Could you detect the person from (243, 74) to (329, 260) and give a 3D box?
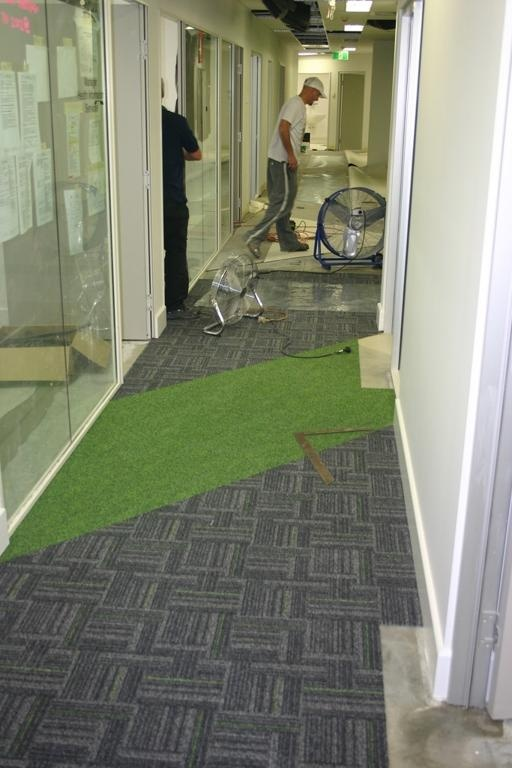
[{"bbox_3d":[0.434,-3.230,7.358,0.991,2.679,1.512,2,12,7],"label":"person"}]

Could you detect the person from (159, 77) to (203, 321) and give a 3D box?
[{"bbox_3d":[-0.805,-1.757,5.261,0.370,2.003,0.321,-4,12,-22],"label":"person"}]

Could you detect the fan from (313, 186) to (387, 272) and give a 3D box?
[{"bbox_3d":[1.451,-2.372,7.730,0.952,1.176,2.476,3,13,11],"label":"fan"}]

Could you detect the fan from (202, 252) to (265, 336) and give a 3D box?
[{"bbox_3d":[-0.213,-0.898,4.871,0.280,0.749,0.756,18,31,30],"label":"fan"}]
